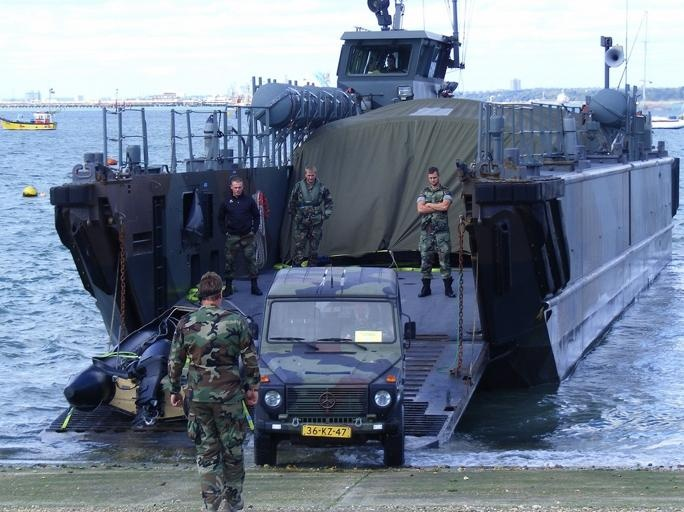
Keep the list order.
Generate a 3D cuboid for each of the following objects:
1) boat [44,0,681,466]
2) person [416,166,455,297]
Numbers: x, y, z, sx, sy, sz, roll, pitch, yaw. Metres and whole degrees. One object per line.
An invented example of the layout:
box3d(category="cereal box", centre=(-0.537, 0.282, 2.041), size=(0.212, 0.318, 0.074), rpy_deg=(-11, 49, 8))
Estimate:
box3d(category="boat", centre=(1.449, -1.070, 25.498), size=(7.646, 6.486, 13.364), rpy_deg=(1, 3, 12))
box3d(category="person", centre=(1.797, -0.429, 23.179), size=(0.675, 2.479, 0.747), rpy_deg=(0, 8, 6))
